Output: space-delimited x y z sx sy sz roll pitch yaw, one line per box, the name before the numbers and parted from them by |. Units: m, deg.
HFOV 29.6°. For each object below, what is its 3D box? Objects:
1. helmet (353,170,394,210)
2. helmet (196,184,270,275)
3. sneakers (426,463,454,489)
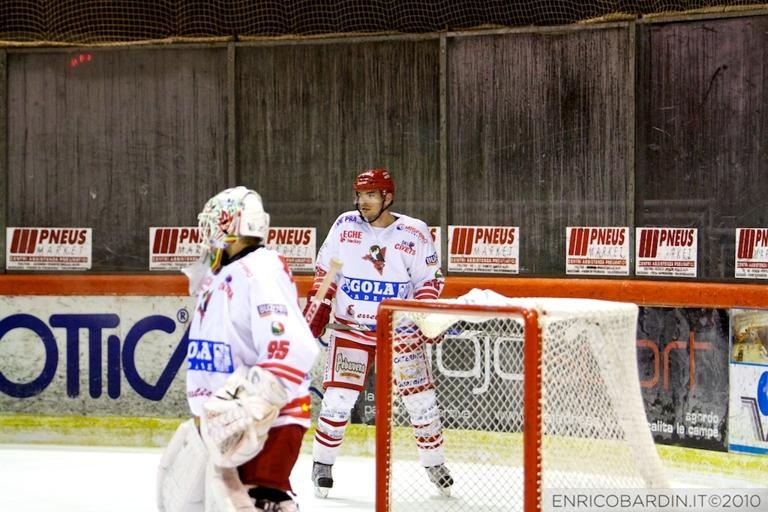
helmet | -0.094 -0.571 12.024 0.303 0.340 0.242 0 -2 -31
helmet | -1.071 -0.219 10.306 0.528 0.639 0.463 2 -1 0
sneakers | 0.457 1.789 11.746 0.129 0.223 0.216 -33 43 -9
